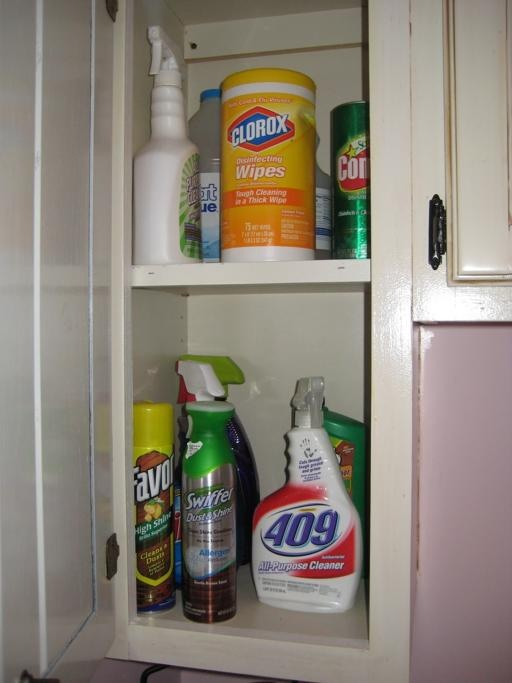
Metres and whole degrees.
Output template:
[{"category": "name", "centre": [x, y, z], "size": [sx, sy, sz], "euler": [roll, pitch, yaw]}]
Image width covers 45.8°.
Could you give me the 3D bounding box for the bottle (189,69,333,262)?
[{"category": "bottle", "centre": [0.011, -0.160, 0.645], "size": [0.138, 0.304, 0.157], "euler": [0, -3, 3]}]

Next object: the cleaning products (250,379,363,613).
[{"category": "cleaning products", "centre": [0.056, 0.162, 0.665], "size": [0.116, 0.278, 0.043], "euler": [2, 19, 7]}]
